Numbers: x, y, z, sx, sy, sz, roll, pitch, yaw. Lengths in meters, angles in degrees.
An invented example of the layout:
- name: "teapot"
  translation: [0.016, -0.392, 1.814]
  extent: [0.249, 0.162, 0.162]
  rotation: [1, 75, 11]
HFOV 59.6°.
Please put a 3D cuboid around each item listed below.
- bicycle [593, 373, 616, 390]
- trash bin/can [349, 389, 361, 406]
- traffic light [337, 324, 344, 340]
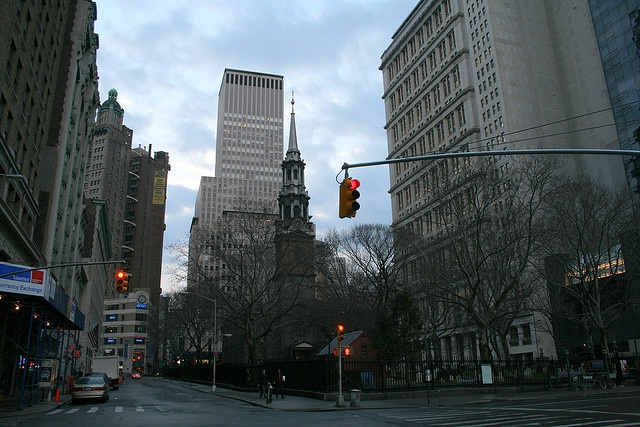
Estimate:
- name: "bicycle"
  translation: [25.959, 15.465, 51.651]
  extent: [1.751, 1.351, 1.132]
  rotation: [-1, -21, -2]
- name: "trash bin/can"
  translation: [2.621, 14.474, 43.722]
  extent: [0.915, 1.344, 0.524]
  rotation: [-15, -25, 32]
- name: "traffic light"
  translation: [1.551, 9.360, 44.070]
  extent: [0.286, 1.106, 0.793]
  rotation: [-5, -21, 8]
